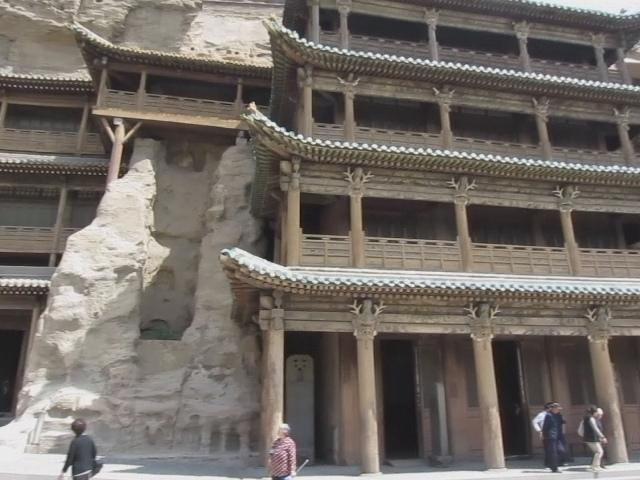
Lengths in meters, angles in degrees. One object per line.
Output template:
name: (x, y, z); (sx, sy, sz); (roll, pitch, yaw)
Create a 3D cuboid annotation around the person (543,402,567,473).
person: (7.473, 6.297, 19.061); (0.694, 2.078, 1.128); (-6, -22, 18)

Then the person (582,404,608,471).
person: (8.813, 6.383, 19.191); (0.746, 1.984, 1.383); (-8, -22, 22)

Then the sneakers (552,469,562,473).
sneakers: (7.398, 7.197, 18.681); (0.278, 0.125, 0.261); (-4, -18, 16)
